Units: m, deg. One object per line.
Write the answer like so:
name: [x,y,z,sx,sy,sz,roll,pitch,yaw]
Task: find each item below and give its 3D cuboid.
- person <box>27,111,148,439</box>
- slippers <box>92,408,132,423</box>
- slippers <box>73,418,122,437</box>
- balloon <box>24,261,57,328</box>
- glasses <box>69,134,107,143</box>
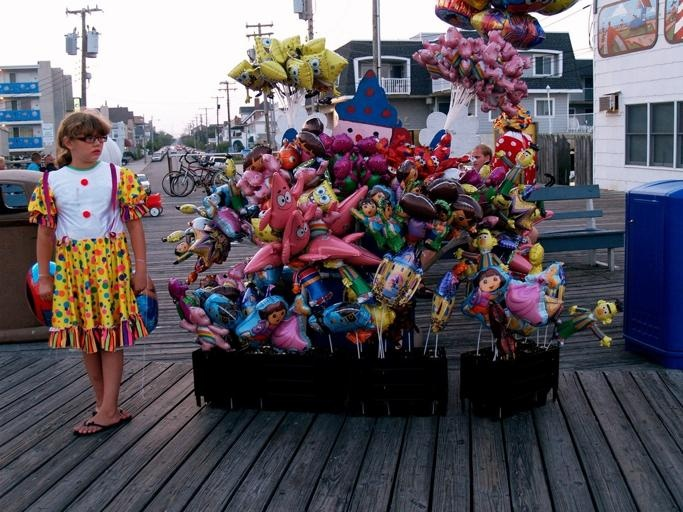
person: [-1.443,0.096,3.365,0.639,1.849,0.365,-5,10,-19]
slippers: [-1.356,0.940,3.468,0.109,0.072,0.205,6,5,33]
slippers: [-1.436,0.987,3.361,0.217,0.057,0.094,-1,9,-25]
balloon: [-2.165,0.275,4.170,0.264,0.095,0.541,11,42,-49]
glasses: [-1.411,-0.674,3.320,0.120,0.043,0.217,2,12,21]
